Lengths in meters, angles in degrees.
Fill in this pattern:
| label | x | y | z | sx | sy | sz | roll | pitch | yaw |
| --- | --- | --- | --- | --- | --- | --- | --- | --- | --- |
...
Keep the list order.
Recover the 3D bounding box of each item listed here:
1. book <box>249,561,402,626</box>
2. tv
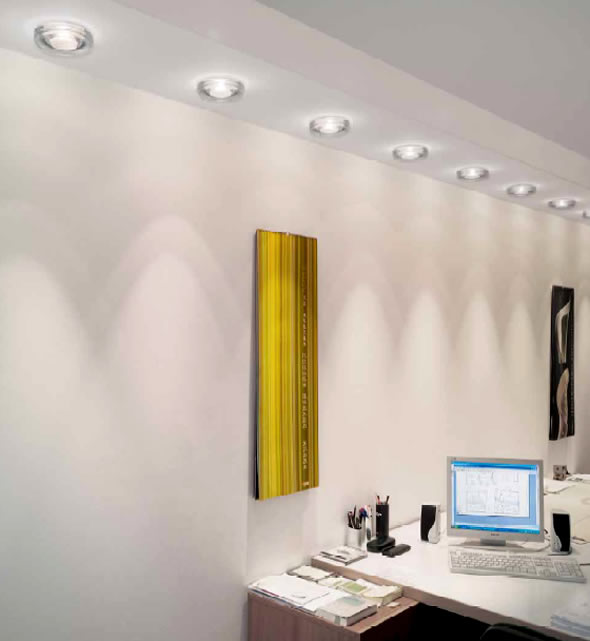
| label | x | y | z | sx | sy | sz | roll | pitch | yaw |
| --- | --- | --- | --- | --- | --- | --- | --- | --- | --- |
| book | 0.106 | 0.971 | 2.459 | 0.478 | 0.048 | 0.370 | 2 | 3 | 41 |
| tv | 0.861 | 0.793 | 2.902 | 0.458 | 0.356 | 0.141 | 0 | -14 | 5 |
